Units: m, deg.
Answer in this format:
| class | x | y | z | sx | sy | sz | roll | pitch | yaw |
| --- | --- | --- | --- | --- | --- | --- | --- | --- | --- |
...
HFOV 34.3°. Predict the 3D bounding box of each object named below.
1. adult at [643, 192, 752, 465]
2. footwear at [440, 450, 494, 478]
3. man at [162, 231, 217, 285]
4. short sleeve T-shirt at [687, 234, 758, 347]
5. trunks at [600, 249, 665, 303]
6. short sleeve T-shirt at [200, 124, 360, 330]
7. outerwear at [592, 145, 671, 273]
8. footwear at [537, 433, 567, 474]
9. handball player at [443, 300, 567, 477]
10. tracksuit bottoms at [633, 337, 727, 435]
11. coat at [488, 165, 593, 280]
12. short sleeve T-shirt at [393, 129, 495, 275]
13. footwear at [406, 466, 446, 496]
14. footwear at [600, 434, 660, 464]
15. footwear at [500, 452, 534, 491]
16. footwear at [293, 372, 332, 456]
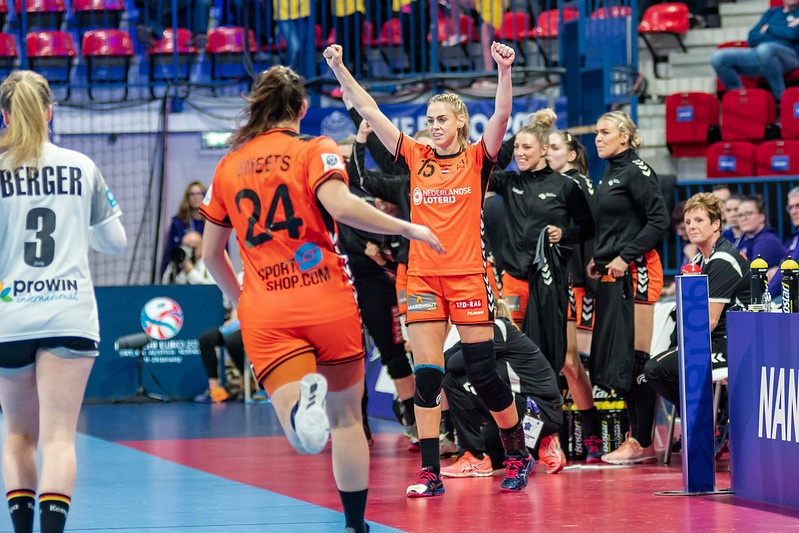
| class | x | y | z | sx | sy | sz | roll | pitch | yaw |
| --- | --- | --- | --- | --- | --- | --- | --- | --- | --- |
| adult | 2.662 | 0.505 | 11.770 | 0.944 | 2.288 | 0.914 | 3 | 7 | 9 |
| footwear | 0.580 | 1.747 | 11.405 | 0.403 | 0.210 | 0.203 | 2 | -12 | -9 |
| man | -2.687 | -0.016 | 16.165 | 0.704 | 0.616 | 1.165 | 1 | -4 | 15 |
| short sleeve T-shirt | 2.833 | 0.269 | 11.462 | 0.419 | 1.007 | 0.510 | 0 | 5 | 13 |
| trunks | 2.283 | 0.032 | 12.233 | 0.278 | 0.551 | 0.429 | 13 | 10 | 14 |
| short sleeve T-shirt | -0.932 | -0.244 | 9.502 | 1.237 | 1.422 | 0.647 | -11 | -8 | 18 |
| outerwear | 2.080 | -0.516 | 12.403 | 0.598 | 1.266 | 1.267 | 3 | -2 | -19 |
| footwear | 1.319 | 1.686 | 11.495 | 0.188 | 0.153 | 0.439 | 13 | 36 | -12 |
| handball player | 0.812 | 0.993 | 11.697 | 1.321 | 1.847 | 0.688 | 1 | 12 | 13 |
| tracksuit bottoms | 2.458 | 1.116 | 11.616 | 0.715 | 0.693 | 0.553 | -4 | -2 | -12 |
| coat | 1.128 | -0.357 | 11.974 | 1.191 | 1.210 | 0.618 | 5 | -4 | 12 |
| short sleeve T-shirt | 0.340 | -0.517 | 10.770 | 1.069 | 1.534 | 0.490 | -3 | -8 | 24 |
| footwear | 0.196 | 1.795 | 10.698 | 0.148 | 0.194 | 0.368 | -9 | -16 | 33 |
| footwear | 2.074 | 1.698 | 11.921 | 0.493 | 0.279 | 0.200 | 0 | -3 | -8 |
| footwear | 0.943 | 1.737 | 10.864 | 0.147 | 0.192 | 0.401 | -5 | 22 | 26 |
| footwear | -0.630 | 1.045 | 9.093 | 0.234 | 0.563 | 0.236 | -3 | 5 | -3 |
